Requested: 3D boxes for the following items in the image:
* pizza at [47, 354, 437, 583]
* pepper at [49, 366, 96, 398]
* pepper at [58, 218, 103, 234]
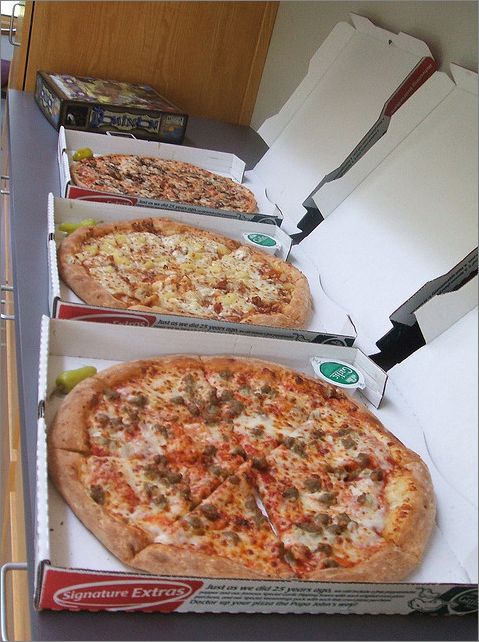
[{"bbox_3d":[0.001,0.280,0.979,0.486,0.072,0.421,18,25,8],"label":"pizza"},{"bbox_3d":[-0.338,0.117,1.086,0.097,0.032,0.032,-31,95,-49],"label":"pepper"},{"bbox_3d":[-0.501,-0.308,1.673,0.096,0.048,0.030,-15,98,-28],"label":"pepper"}]
